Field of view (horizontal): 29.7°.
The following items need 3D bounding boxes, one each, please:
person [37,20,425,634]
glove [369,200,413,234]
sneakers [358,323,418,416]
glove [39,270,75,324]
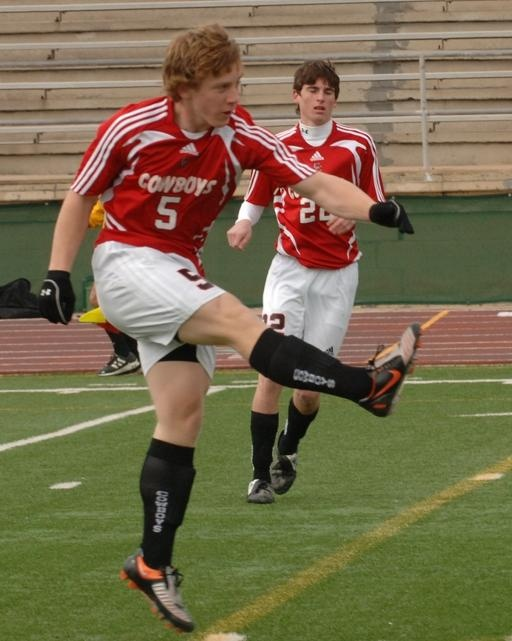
[{"bbox_3d":[-0.076,0.003,2.793,0.940,1.655,0.748,-3,15,-34],"label":"person"},{"bbox_3d":[0.390,-0.297,2.839,0.168,0.073,0.064,18,-13,4],"label":"glove"},{"bbox_3d":[0.379,0.155,2.752,0.141,0.306,0.246,7,11,9],"label":"sneakers"},{"bbox_3d":[-0.563,-0.070,2.737,0.067,0.117,0.144,-8,54,2],"label":"glove"}]
